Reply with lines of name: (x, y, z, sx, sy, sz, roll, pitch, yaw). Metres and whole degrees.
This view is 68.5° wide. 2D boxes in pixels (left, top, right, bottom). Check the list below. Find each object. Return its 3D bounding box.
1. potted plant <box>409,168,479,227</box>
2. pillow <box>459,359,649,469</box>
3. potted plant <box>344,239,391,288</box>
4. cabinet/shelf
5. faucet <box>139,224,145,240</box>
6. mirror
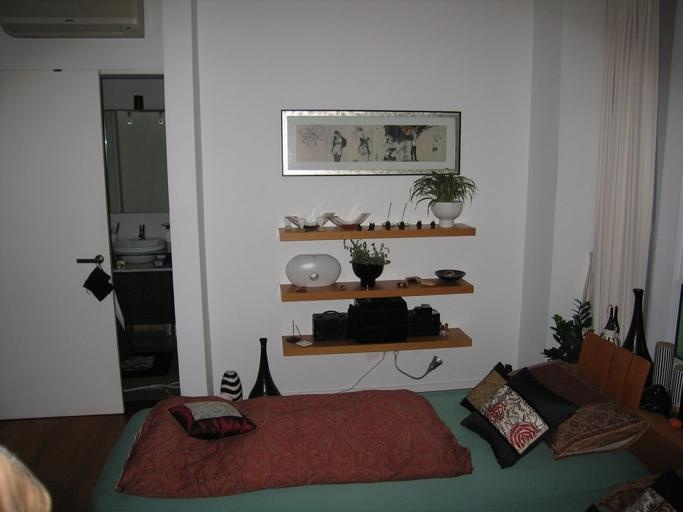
potted plant: (0.815, -0.470, 4.076, 0.451, 0.419, 0.477, 0, 4, -9)
pillow: (1.251, 0.951, 2.989, 0.687, 0.259, 0.578, -14, 20, -11)
potted plant: (0.207, 0.067, 4.056, 0.289, 0.350, 0.311, -1, 13, 2)
cabinet/shelf: (0.274, 0.300, 4.033, 1.566, 1.147, 0.361, -4, 13, -6)
faucet: (-1.668, -0.206, 4.168, 0.060, 0.120, 0.030, -2, 12, 3)
mirror: (-1.664, -0.701, 4.072, 0.107, 1.069, 0.568, 10, 15, 34)
